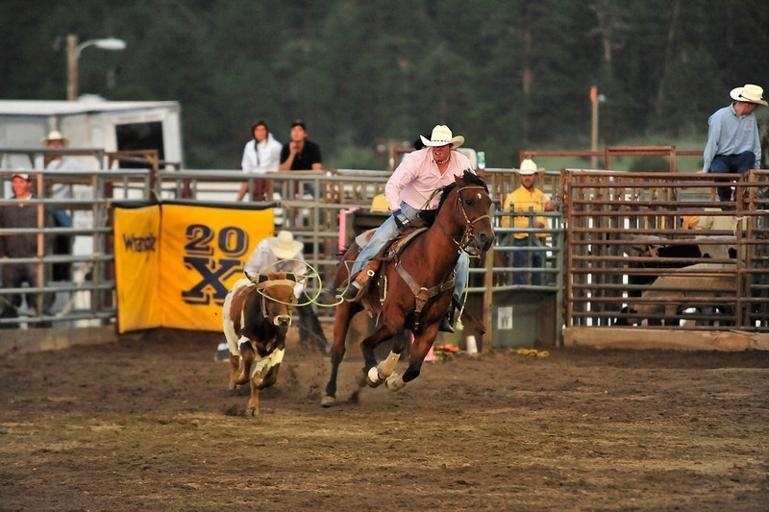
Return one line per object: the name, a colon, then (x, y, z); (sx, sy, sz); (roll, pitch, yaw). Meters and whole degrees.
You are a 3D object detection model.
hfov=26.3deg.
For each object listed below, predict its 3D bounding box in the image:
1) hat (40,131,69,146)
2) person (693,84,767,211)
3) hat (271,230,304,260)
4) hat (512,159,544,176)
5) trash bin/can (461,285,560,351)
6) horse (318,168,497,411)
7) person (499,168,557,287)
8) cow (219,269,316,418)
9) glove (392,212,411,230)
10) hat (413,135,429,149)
hat: (-5.658, -1.999, 28.290); (0.308, 0.131, 0.346); (1, -26, -9)
person: (5.671, -2.038, 26.608); (0.973, 1.425, 0.585); (-1, 13, -2)
hat: (-1.375, -0.141, 22.757); (0.446, 0.368, 0.442); (1, 13, 3)
hat: (2.385, -1.477, 27.616); (0.430, 0.188, 0.492); (1, -4, 4)
trash bin/can: (1.967, 0.995, 26.411); (1.200, 0.859, 0.414); (0, -3, -26)
horse: (0.317, 0.491, 22.746); (1.192, 3.412, 2.824); (-12, 18, -41)
person: (2.349, -0.529, 27.118); (0.826, 1.871, 1.552); (1, 13, 5)
cow: (-1.679, 1.128, 22.487); (0.731, 1.914, 1.585); (-7, 15, -26)
glove: (0.208, -0.503, 22.869); (0.120, 0.263, 0.168); (-30, -35, -13)
hat: (0.499, -1.668, 24.310); (0.134, 0.168, 0.080); (1, 17, 10)
